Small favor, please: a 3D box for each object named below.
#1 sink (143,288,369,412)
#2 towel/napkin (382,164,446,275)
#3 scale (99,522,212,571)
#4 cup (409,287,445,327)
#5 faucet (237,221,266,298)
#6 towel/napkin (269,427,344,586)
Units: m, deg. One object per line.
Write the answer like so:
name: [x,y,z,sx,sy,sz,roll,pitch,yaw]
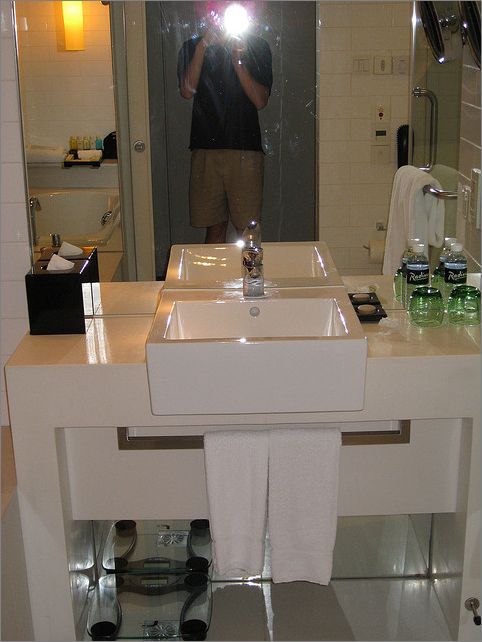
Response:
sink: [0.034,0.093,1.326,0.457,0.242,0.314,-2,16,1]
towel/napkin: [0.458,-0.283,1.530,0.074,0.252,0.148,-22,41,-33]
scale: [-0.260,0.708,1.758,0.236,0.079,0.181,-3,30,-2]
cup: [0.477,-0.030,1.492,0.092,0.113,0.099,0,11,0]
faucet: [0.026,-0.155,1.441,0.044,0.192,0.050,-1,16,2]
towel/napkin: [0.145,0.452,1.376,0.171,0.462,0.050,-1,26,3]
